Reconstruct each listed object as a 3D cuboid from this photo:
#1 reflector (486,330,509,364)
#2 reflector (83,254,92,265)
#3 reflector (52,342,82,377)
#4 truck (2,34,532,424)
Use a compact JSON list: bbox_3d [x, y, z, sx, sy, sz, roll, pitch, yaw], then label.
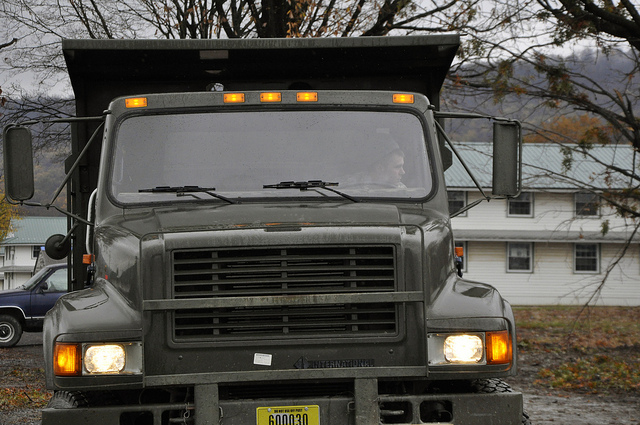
[{"bbox_3d":[2.461,1.852,15.065,0.361,0.479,0.274,-5,-4,10],"label":"reflector"},{"bbox_3d":[-3.479,0.715,16.449,0.158,0.153,0.159,0,-3,-1],"label":"reflector"},{"bbox_3d":[-3.332,2.023,15.032,0.586,0.448,0.577,2,-8,-26],"label":"reflector"},{"bbox_3d":[-0.652,0.093,16.394,7.452,5.775,4.330,1,1,10],"label":"truck"}]
